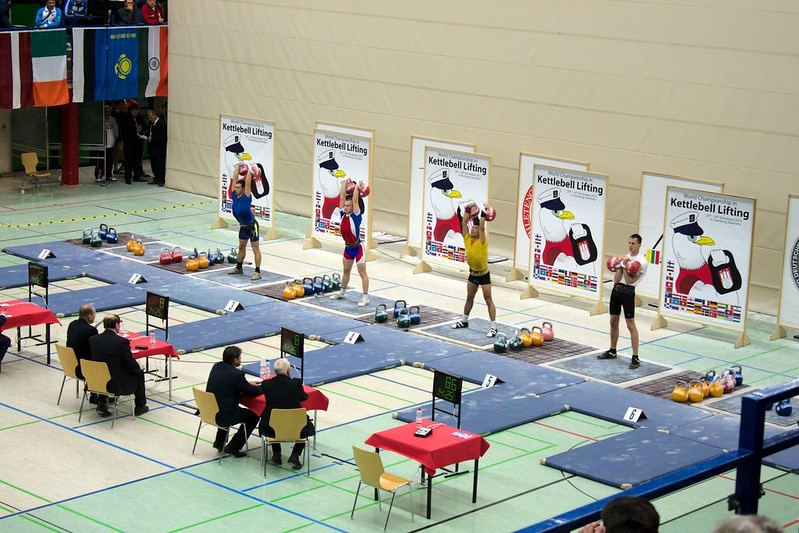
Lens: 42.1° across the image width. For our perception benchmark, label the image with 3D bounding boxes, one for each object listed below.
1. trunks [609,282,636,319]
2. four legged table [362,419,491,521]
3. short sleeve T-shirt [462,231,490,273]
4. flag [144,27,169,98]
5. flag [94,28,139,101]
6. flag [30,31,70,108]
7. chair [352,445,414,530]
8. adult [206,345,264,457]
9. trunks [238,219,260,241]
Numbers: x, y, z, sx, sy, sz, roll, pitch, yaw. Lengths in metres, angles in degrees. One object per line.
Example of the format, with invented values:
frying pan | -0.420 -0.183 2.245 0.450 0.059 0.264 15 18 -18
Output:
trunks | 4.202 0.629 19.380 0.522 0.667 0.285 10 11 44
four legged table | 0.359 3.137 15.202 1.439 0.999 1.438 -8 13 -42
short sleeve T-shirt | 1.531 -0.255 20.523 0.467 0.787 0.299 3 8 3
flag | -7.375 -6.331 31.681 0.721 2.077 0.380 -2 9 -31
flag | -8.395 -6.104 30.678 1.866 2.550 0.128 -15 27 -42
flag | -9.848 -5.685 29.421 0.366 2.127 1.201 6 9 27
chair | -0.238 3.258 15.066 0.749 1.303 0.816 15 26 42
adult | -2.592 2.117 16.281 0.898 1.746 0.770 2 10 -32
trunks | -3.406 -0.838 23.599 0.420 0.404 0.275 9 30 10
